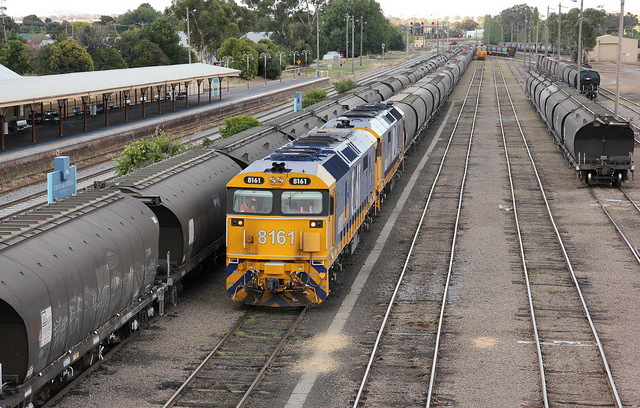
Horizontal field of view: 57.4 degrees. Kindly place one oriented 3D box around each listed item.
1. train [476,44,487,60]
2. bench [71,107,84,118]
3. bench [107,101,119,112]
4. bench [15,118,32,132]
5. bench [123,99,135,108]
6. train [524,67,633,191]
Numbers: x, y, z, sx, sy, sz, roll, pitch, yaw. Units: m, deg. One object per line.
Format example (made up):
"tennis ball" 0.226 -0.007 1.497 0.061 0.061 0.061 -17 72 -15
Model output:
"train" 42.135 -39.424 153.701 2.054 3.256 4.897 2 17 9
"bench" -26.813 -10.021 64.336 1.280 1.595 1.318 -5 1 -39
"bench" -25.209 -11.752 70.653 1.042 1.198 1.327 0 6 12
"bench" -28.100 -7.617 55.488 1.014 0.728 2.910 -9 19 -25
"bench" -24.093 -12.740 73.714 0.862 1.224 4.792 -7 8 -16
"train" 18.624 -6.608 45.687 3.837 4.584 20.749 -5 20 8
